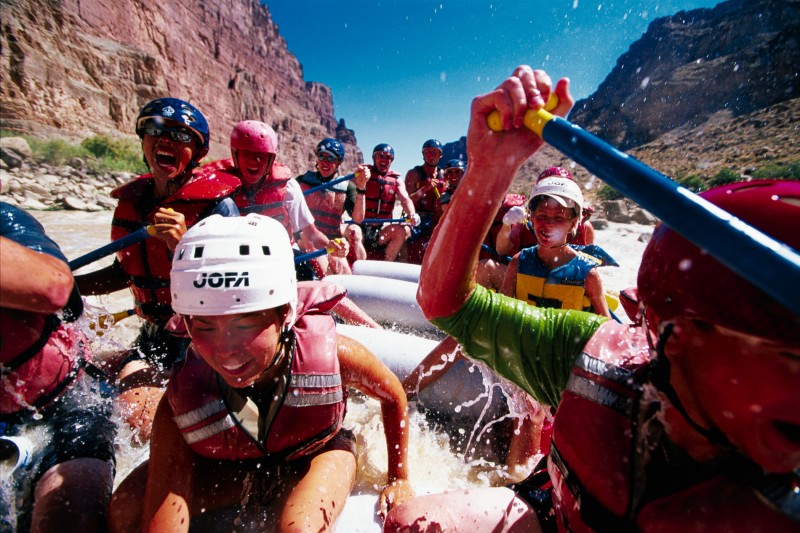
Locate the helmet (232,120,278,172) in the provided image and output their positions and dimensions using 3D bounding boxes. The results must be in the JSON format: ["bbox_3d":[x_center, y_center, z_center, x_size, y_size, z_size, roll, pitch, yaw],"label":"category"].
[{"bbox_3d":[-1.520,-1.292,5.608,0.405,0.506,0.521,4,21,-30],"label":"helmet"}]

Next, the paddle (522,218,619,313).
[{"bbox_3d":[1.611,0.026,4.903,1.018,0.628,1.078,4,-1,-34],"label":"paddle"}]

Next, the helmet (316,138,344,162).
[{"bbox_3d":[-1.020,-1.740,7.835,0.316,0.365,0.443,5,19,5],"label":"helmet"}]

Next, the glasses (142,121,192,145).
[{"bbox_3d":[-1.933,-1.115,4.429,0.409,0.155,0.166,3,17,-16],"label":"glasses"}]

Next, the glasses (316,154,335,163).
[{"bbox_3d":[-1.053,-1.564,7.727,0.132,0.042,0.140,12,-29,11],"label":"glasses"}]

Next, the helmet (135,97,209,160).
[{"bbox_3d":[-1.912,-1.256,4.576,0.459,0.646,0.471,7,6,-8],"label":"helmet"}]
